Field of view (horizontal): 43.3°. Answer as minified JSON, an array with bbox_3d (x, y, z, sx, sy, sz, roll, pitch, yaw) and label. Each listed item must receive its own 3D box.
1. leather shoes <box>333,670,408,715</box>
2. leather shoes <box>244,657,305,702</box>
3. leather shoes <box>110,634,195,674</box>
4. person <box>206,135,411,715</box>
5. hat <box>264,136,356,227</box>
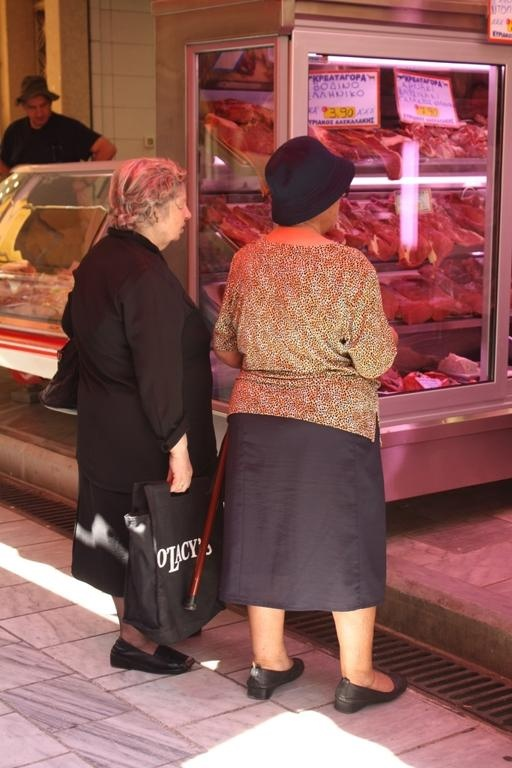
[{"bbox_3d":[0.310,0.820,1.800,0.241,0.088,0.086,-8,11,-42],"label":"leather shoes"},{"bbox_3d":[0.055,0.820,1.873,0.071,0.079,0.195,6,14,37],"label":"leather shoes"},{"bbox_3d":[-0.326,0.855,2.062,0.280,0.106,0.099,3,7,0],"label":"leather shoes"},{"bbox_3d":[0.102,-0.004,1.622,0.470,1.144,0.370,0,-4,6],"label":"person"},{"bbox_3d":[0.124,-0.476,1.511,0.197,0.204,0.089,0,-4,6],"label":"hat"}]
